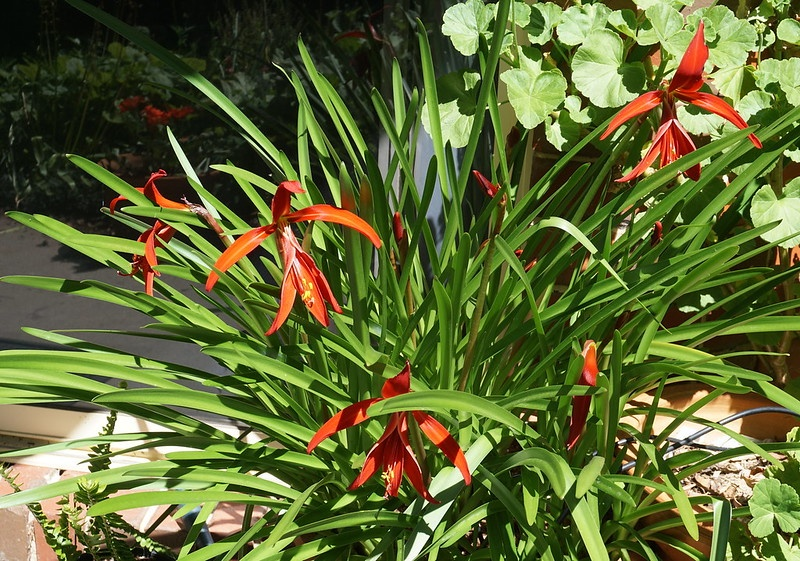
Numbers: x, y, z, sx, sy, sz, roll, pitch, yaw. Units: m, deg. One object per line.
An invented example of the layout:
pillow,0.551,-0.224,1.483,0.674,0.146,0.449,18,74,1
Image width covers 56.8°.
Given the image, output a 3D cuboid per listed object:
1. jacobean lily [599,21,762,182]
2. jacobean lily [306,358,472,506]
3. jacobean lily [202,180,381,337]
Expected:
jacobean lily,0.446,-0.289,1.212,0.227,0.259,0.114,2,21,-15
jacobean lily,0.003,0.237,1.116,0.164,0.098,0.174,-32,28,23
jacobean lily,-0.160,-0.029,1.166,0.221,0.255,0.132,-14,-3,-5
